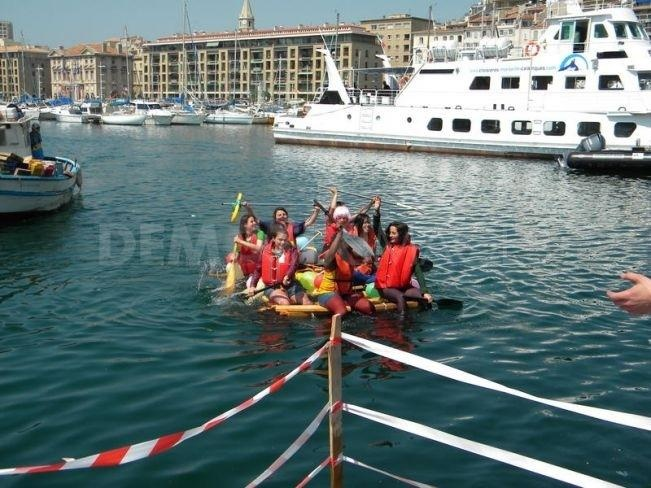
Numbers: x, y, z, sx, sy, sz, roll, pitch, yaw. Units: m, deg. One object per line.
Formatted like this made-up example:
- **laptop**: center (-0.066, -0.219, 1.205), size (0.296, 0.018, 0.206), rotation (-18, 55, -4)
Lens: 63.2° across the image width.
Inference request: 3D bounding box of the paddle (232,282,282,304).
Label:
- **paddle**: center (-1.425, 0.957, 10.626), size (1.064, 0.129, 0.350), rotation (-17, -33, 9)

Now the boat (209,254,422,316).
- **boat**: center (-0.275, 0.896, 10.770), size (3.696, 0.718, 1.786), rotation (-1, 8, -9)

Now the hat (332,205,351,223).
- **hat**: center (0.300, -0.595, 10.280), size (0.320, 0.288, 0.362), rotation (-1, 9, -3)
